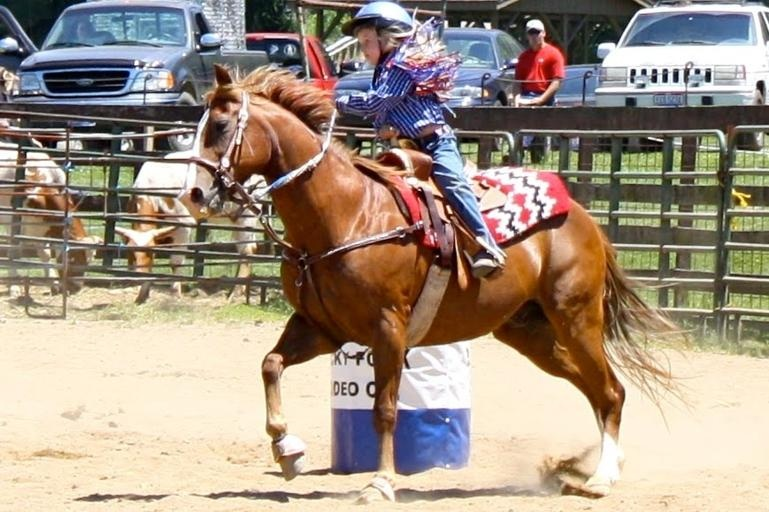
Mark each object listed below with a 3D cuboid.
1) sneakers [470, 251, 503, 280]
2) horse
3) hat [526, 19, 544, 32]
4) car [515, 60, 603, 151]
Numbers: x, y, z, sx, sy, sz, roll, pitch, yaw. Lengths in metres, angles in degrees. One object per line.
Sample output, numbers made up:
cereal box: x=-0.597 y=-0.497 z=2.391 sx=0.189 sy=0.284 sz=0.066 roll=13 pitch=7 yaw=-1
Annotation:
sneakers: x=0.884 y=0.071 z=11.876 sx=0.288 sy=0.197 sz=0.265 roll=0 pitch=19 yaw=-9
horse: x=0.614 y=0.433 z=12.537 sx=6.006 sy=3.683 sz=1.347 roll=4 pitch=-8 yaw=-37
hat: x=2.183 y=-3.357 z=19.235 sx=0.215 sy=0.185 sz=0.368 roll=2 pitch=4 yaw=20
car: x=2.985 y=-2.594 z=22.717 sx=1.430 sy=1.452 sz=2.506 roll=0 pitch=13 yaw=12
